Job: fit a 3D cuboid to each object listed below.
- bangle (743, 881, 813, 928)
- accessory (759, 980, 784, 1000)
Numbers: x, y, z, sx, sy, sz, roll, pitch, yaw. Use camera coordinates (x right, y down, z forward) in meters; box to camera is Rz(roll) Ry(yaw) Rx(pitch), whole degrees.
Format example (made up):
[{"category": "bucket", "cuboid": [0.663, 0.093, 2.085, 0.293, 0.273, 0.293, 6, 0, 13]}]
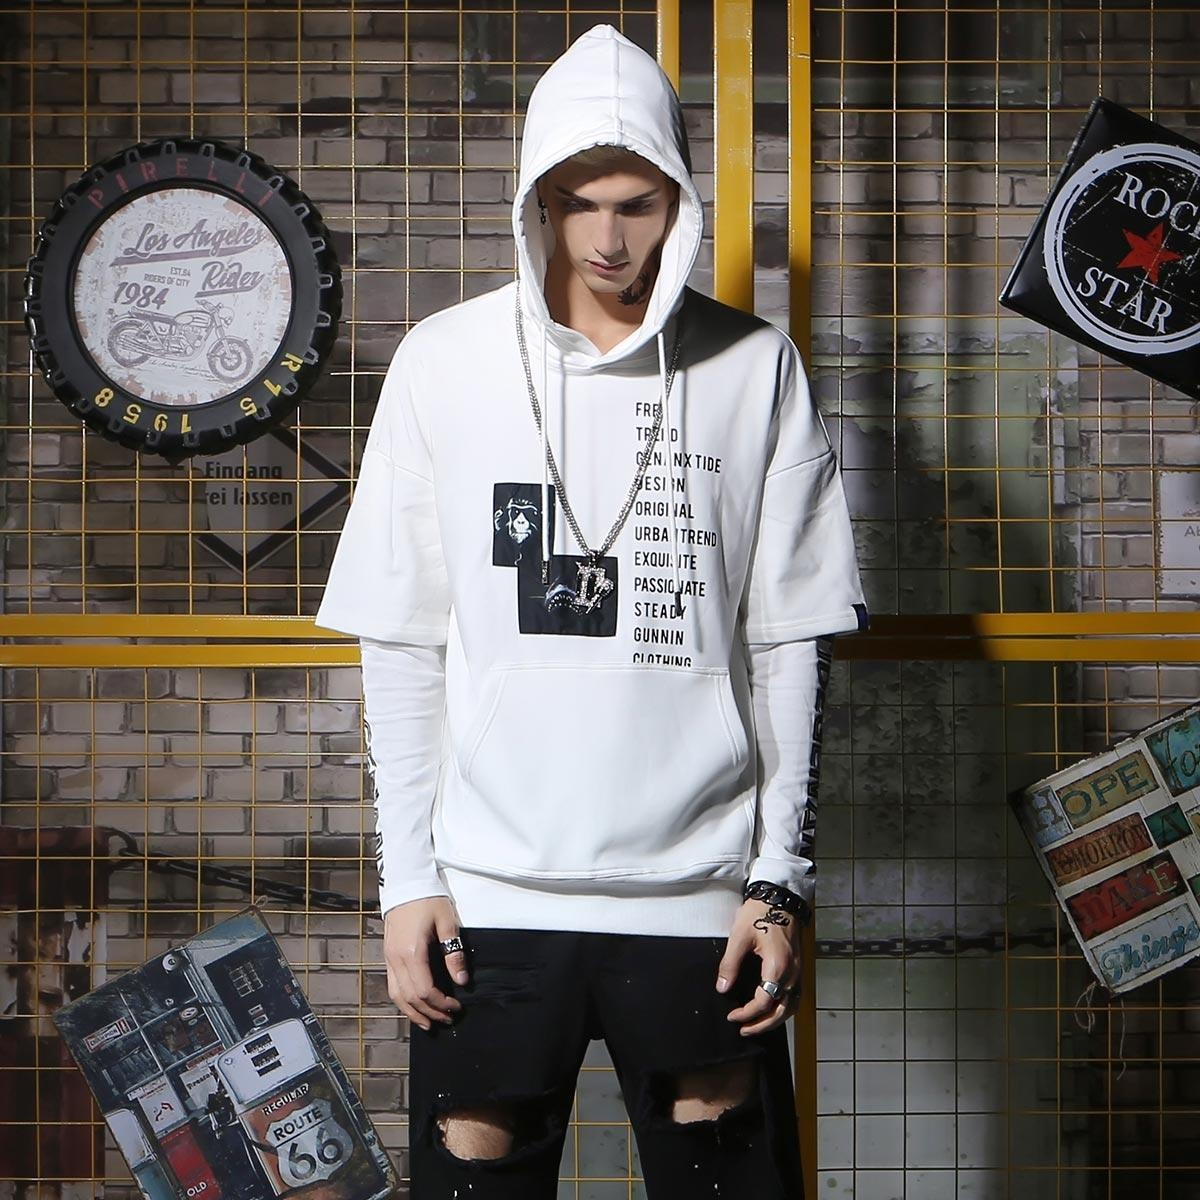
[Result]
[{"category": "bangle", "cuboid": [0.275, 0.480, 3.859, 0.070, 0.091, 0.031, 37, 72, -27]}, {"category": "accessory", "cuboid": [0.268, 0.613, 3.827, 0.039, 0.036, 0.023, 27, 75, -33]}]
